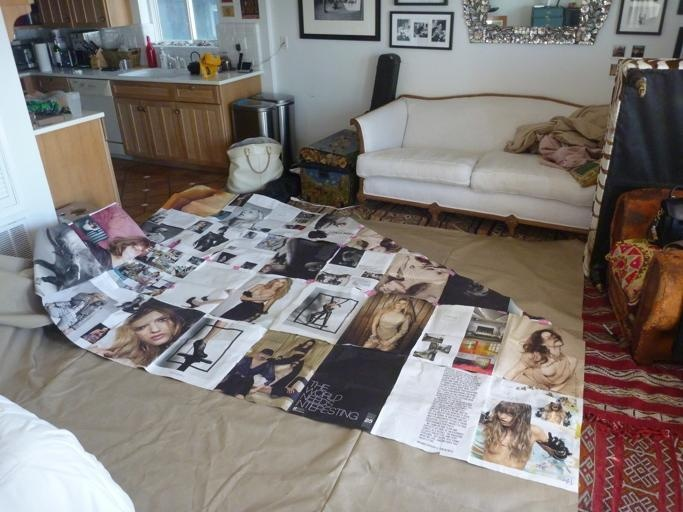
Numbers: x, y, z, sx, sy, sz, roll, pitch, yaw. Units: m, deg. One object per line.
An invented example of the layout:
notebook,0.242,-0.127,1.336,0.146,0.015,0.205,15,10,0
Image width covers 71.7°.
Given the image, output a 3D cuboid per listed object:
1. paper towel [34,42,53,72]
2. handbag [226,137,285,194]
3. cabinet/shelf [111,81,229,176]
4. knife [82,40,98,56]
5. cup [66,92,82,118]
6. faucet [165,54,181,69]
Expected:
paper towel,-3.303,-2.204,5.247,0.170,0.282,0.237,-16,32,-23
handbag,-0.734,-0.759,4.045,0.620,0.491,0.310,-13,43,-18
cabinet/shelf,-1.656,-1.288,4.682,1.272,0.637,0.587,11,38,15
knife,-2.763,-2.305,5.239,0.130,0.143,0.245,-22,33,-33
cup,-1.864,-1.058,3.303,0.091,0.145,0.227,-15,29,-22
faucet,-1.819,-2.125,5.171,0.206,0.123,0.049,8,32,19
